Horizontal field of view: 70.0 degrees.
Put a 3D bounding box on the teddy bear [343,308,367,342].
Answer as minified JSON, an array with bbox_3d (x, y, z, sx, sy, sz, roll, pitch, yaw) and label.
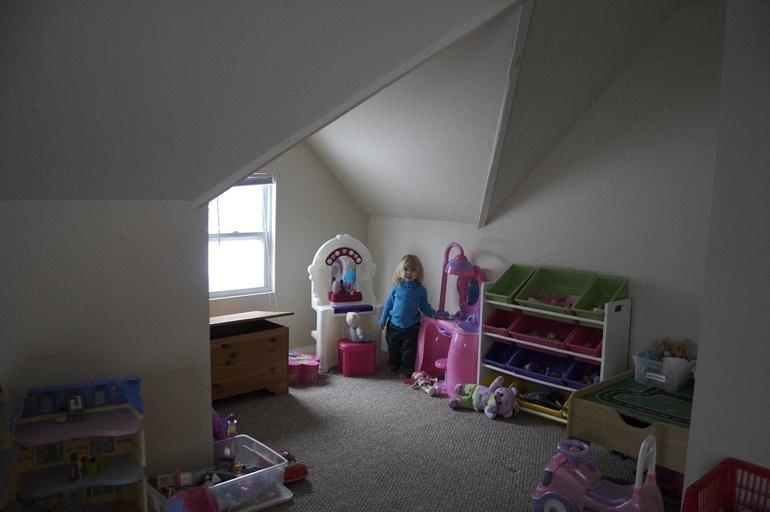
[{"bbox_3d":[-0.326,0.773,6.112,0.272,0.403,0.301,-15,-16,41],"label":"teddy bear"}]

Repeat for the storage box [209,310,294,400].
[{"bbox_3d":[-1.473,0.954,5.514,1.108,0.841,0.604,-2,13,-39],"label":"storage box"}]

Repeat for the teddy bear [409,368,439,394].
[{"bbox_3d":[0.416,1.304,5.702,0.304,0.165,0.475,-4,2,-23],"label":"teddy bear"}]

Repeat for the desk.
[{"bbox_3d":[1.824,1.126,4.013,0.756,0.331,0.869,9,14,32],"label":"desk"}]

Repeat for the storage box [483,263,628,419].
[{"bbox_3d":[1.575,0.787,4.946,0.450,1.297,1.274,0,4,-38],"label":"storage box"}]

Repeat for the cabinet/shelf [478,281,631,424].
[{"bbox_3d":[1.555,0.866,4.898,1.120,1.125,0.410,2,-9,45],"label":"cabinet/shelf"}]

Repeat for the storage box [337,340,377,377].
[{"bbox_3d":[-0.314,1.106,6.126,0.367,0.285,0.368,1,1,-32],"label":"storage box"}]

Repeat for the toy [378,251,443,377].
[{"bbox_3d":[0.265,0.644,6.137,0.464,1.273,0.534,-7,15,-32],"label":"toy"}]

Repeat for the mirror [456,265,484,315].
[{"bbox_3d":[0.929,0.341,5.867,0.067,0.656,0.353,-12,24,-40],"label":"mirror"}]
